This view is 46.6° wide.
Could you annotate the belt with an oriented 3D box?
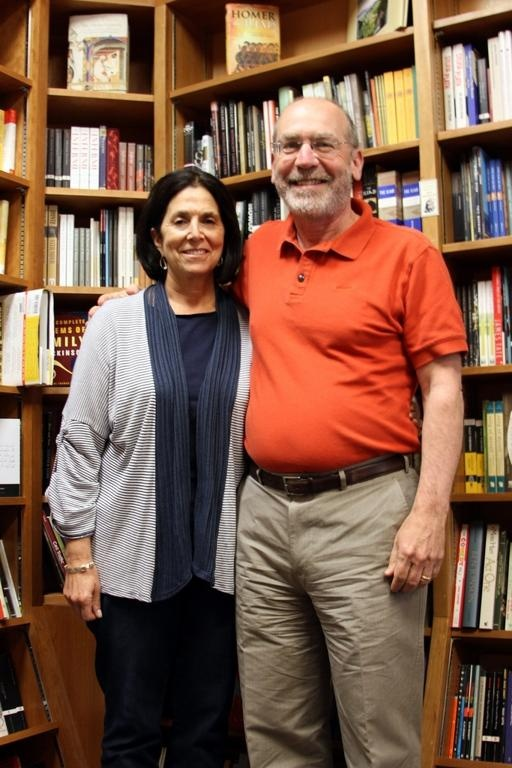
[{"bbox_3d":[0.128,0.169,1.080,0.279,0.078,0.096,-2,1,13],"label":"belt"}]
